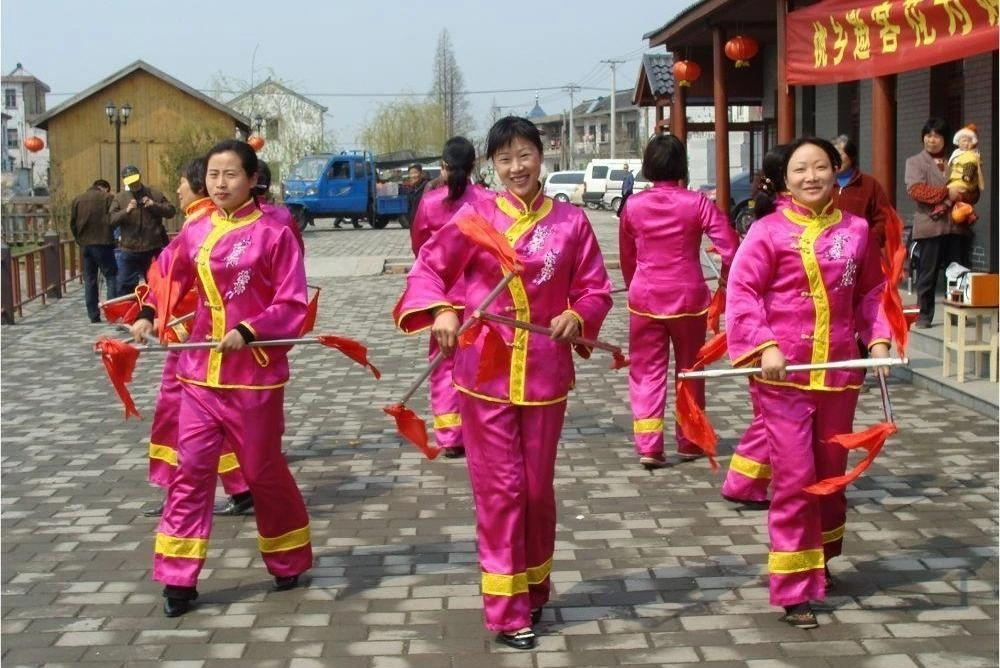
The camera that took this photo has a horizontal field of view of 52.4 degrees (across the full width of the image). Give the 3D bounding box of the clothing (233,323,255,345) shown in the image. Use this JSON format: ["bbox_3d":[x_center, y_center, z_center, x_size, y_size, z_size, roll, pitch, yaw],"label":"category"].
[{"bbox_3d":[-1.246,0.000,5.001,0.086,0.109,0.115,-45,16,-16],"label":"clothing"}]

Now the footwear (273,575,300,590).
[{"bbox_3d":[-1.090,1.279,5.203,0.071,0.046,0.123,-4,-24,5],"label":"footwear"}]

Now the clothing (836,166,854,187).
[{"bbox_3d":[2.459,-1.117,7.247,0.118,0.117,0.085,14,-13,39],"label":"clothing"}]

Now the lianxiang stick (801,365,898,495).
[{"bbox_3d":[1.674,0.516,4.800,0.289,0.629,0.530,11,21,41],"label":"lianxiang stick"}]

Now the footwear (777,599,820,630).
[{"bbox_3d":[1.437,1.328,4.762,0.236,0.107,0.077,2,-2,26],"label":"footwear"}]

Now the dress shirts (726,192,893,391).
[{"bbox_3d":[1.484,-0.249,4.908,0.860,0.766,0.485,-4,16,-6],"label":"dress shirts"}]

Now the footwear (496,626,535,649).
[{"bbox_3d":[0.080,1.401,4.699,0.184,0.053,0.089,5,2,30],"label":"footwear"}]
